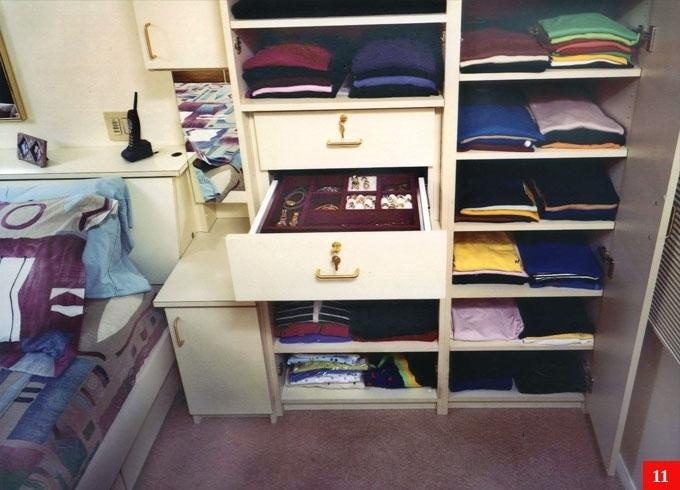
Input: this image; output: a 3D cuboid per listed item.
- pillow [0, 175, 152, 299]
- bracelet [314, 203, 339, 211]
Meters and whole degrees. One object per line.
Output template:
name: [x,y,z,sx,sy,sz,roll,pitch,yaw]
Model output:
pillow: [-1.046,-0.039,2.157,0.543,0.173,0.559,-2,72,0]
bracelet: [-0.053,-0.149,2.098,0.058,0.014,0.052,1,27,5]
